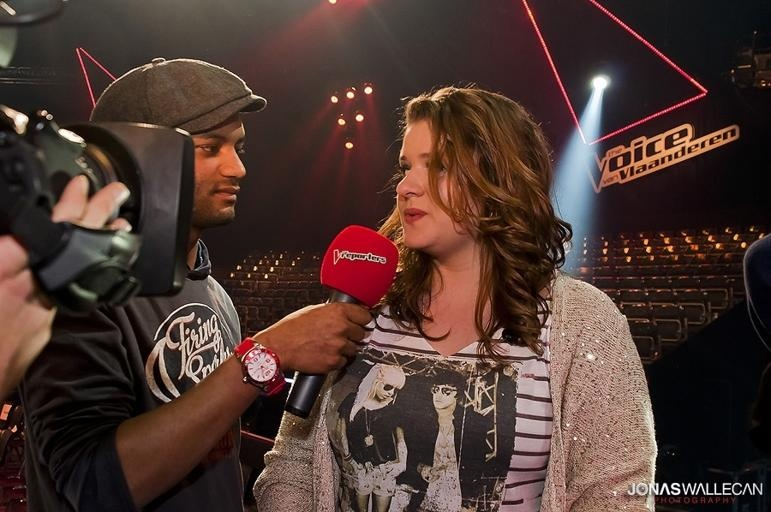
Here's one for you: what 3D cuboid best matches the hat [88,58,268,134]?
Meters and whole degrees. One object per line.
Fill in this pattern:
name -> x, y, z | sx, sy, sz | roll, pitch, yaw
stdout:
hat -> -0.649, -0.528, 1.933 | 0.544, 0.239, 0.393 | -3, 17, -12
